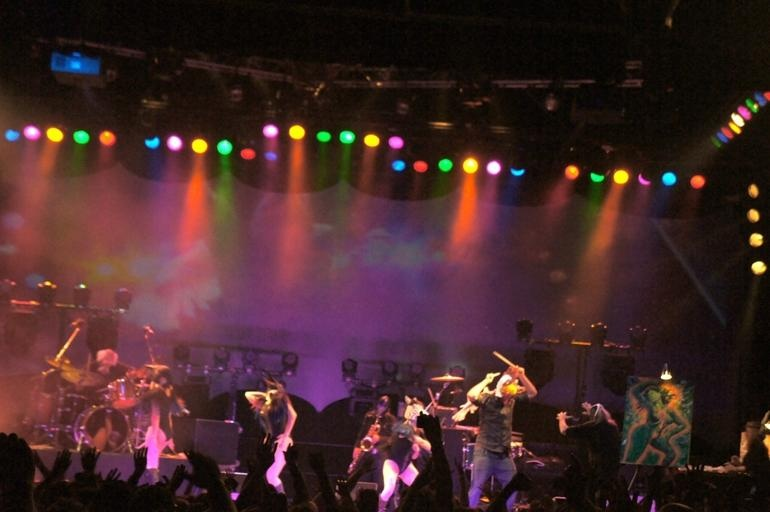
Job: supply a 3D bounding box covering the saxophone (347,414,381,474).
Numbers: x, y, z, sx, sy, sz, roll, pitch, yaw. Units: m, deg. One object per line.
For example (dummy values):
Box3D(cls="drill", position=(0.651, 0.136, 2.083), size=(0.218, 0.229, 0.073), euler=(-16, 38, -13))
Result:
Box3D(cls="saxophone", position=(-0.336, 2.917, 11.917), size=(0.507, 0.914, 0.466), euler=(-2, 1, -26))
